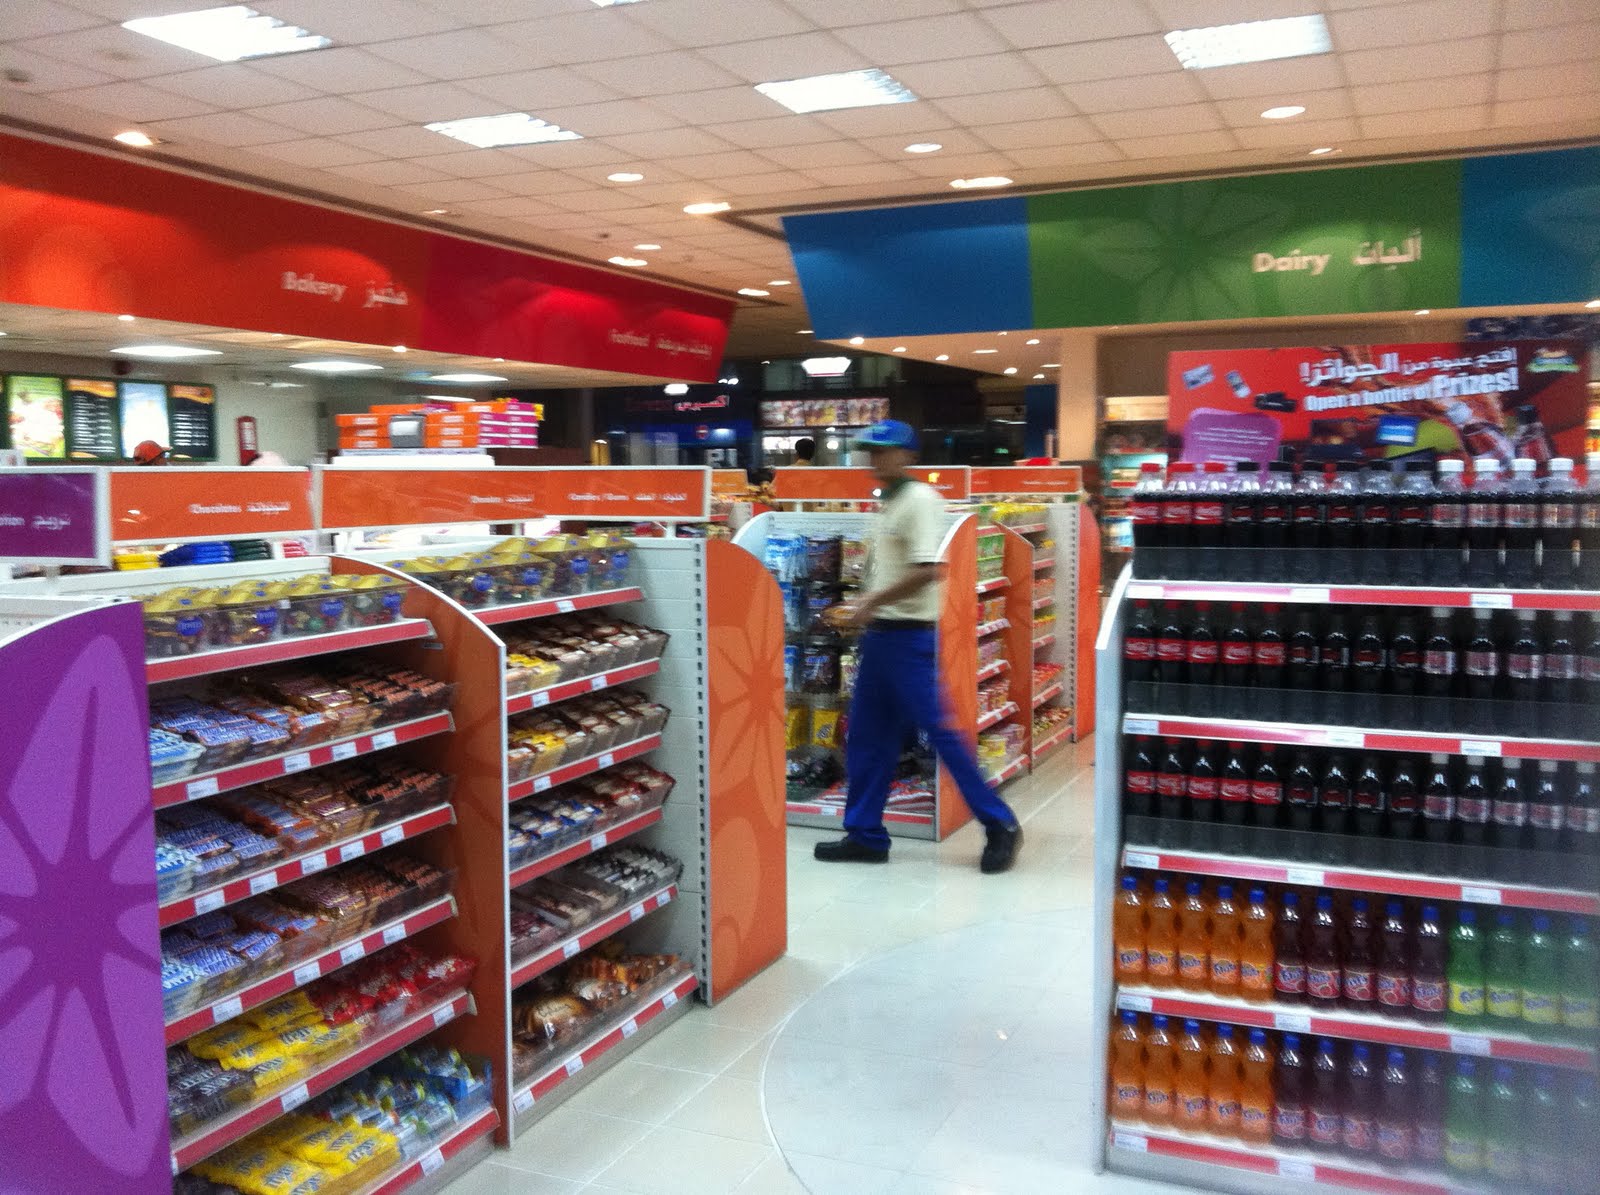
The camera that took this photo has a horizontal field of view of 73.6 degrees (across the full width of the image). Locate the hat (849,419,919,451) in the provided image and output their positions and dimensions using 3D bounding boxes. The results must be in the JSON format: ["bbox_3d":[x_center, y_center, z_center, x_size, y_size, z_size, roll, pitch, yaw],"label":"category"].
[{"bbox_3d":[0.412,-0.770,5.125,0.289,0.093,0.173,6,5,1],"label":"hat"}]

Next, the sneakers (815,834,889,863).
[{"bbox_3d":[0.302,1.409,5.913,0.521,0.142,0.143,4,4,7],"label":"sneakers"}]

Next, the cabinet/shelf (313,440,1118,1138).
[{"bbox_3d":[-0.315,0.822,4.405,1.144,1.066,3.476,1,5,25],"label":"cabinet/shelf"}]
